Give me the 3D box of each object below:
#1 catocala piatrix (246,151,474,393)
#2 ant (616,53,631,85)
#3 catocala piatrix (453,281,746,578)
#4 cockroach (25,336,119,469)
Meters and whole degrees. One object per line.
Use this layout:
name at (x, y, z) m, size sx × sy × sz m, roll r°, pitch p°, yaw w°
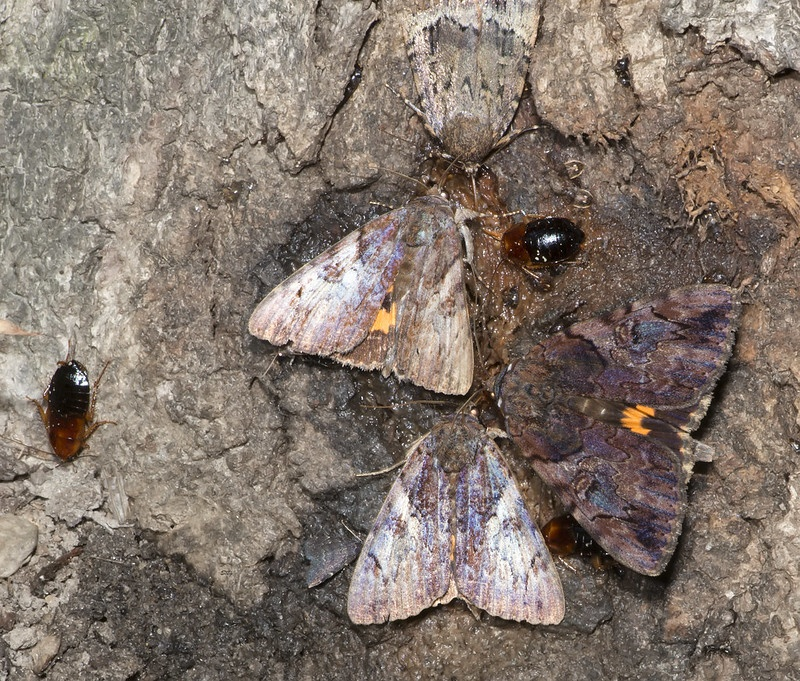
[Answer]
catocala piatrix at (-0.159, -0.280, 6.545) m, size 1.203 × 0.337 × 1.170 m, roll 1°, pitch 86°, yaw 3°
ant at (1.295, -1.555, 6.245) m, size 0.107 × 0.037 × 0.151 m, roll 2°, pitch 102°, yaw 23°
catocala piatrix at (1.204, 0.414, 6.028) m, size 1.280 × 0.417 × 1.926 m, roll 16°, pitch 97°, yaw 16°
cockroach at (-1.987, 0.393, 6.651) m, size 0.504 × 0.233 × 0.673 m, roll 39°, pitch 88°, yaw 5°
